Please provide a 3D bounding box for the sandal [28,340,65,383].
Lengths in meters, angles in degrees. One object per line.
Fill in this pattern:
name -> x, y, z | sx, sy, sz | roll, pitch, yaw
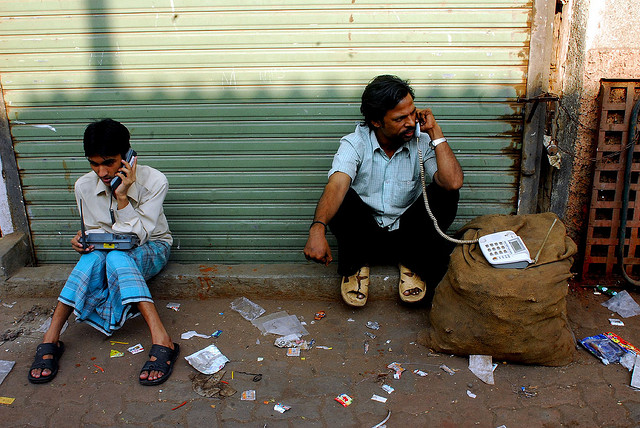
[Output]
sandal -> -2.433, 1.242, 4.211 | 0.271, 0.185, 0.615 | 7, 15, -20

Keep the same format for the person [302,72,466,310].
person -> 0.572, -0.152, 4.529 | 1.399, 2.256, 0.744 | -8, 24, -13

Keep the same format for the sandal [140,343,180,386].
sandal -> -1.395, 1.244, 4.164 | 0.263, 0.188, 0.590 | 0, 19, 0

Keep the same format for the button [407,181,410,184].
button -> 0.863, -0.312, 4.586 | 0.020, 0.025, 0.007 | -4, 23, -4

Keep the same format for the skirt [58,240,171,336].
skirt -> -1.978, 0.550, 4.629 | 0.838, 0.571, 1.196 | 1, 29, -7

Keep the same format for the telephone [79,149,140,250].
telephone -> -1.932, -0.109, 4.317 | 0.576, 0.898, 0.460 | -7, 23, -10

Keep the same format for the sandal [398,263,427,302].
sandal -> 0.940, 0.643, 4.825 | 0.314, 0.134, 0.609 | -8, 28, 5

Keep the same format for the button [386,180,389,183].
button -> 0.659, -0.325, 4.580 | 0.036, 0.027, 0.008 | -15, -6, -5
